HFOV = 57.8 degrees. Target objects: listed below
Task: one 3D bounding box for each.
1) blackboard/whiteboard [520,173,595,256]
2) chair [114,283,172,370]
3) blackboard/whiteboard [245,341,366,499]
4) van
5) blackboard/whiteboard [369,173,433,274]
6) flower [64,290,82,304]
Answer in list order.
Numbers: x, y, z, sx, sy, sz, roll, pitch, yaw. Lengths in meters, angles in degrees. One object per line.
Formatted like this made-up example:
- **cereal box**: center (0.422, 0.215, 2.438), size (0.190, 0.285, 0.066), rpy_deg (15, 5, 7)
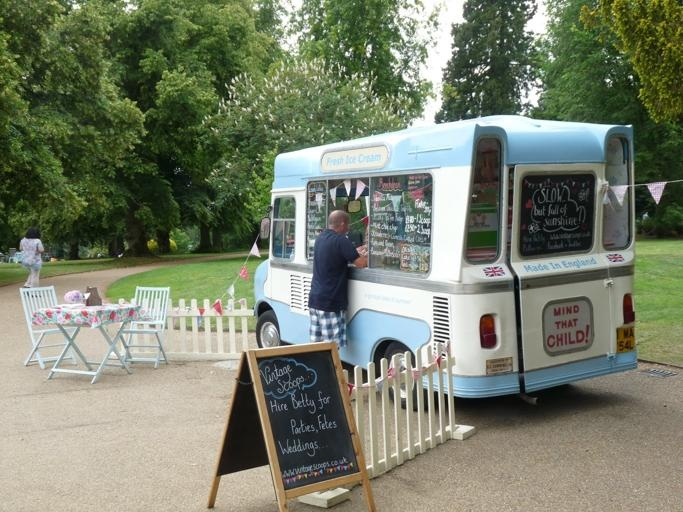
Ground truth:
- **blackboard/whiteboard**: center (2.586, -0.540, 7.535), size (0.894, 0.792, 0.040), rpy_deg (-3, 5, -34)
- **chair**: center (-3.367, 1.198, 10.654), size (0.779, 1.331, 0.832), rpy_deg (2, 1, 20)
- **blackboard/whiteboard**: center (-0.297, 1.552, 5.580), size (0.976, 1.495, 0.602), rpy_deg (-5, 4, -21)
- **van**: center (1.199, -0.090, 9.234), size (2.940, 3.114, 5.216), rpy_deg (-1, 2, -37)
- **blackboard/whiteboard**: center (0.771, -0.426, 7.734), size (0.065, 1.342, 1.171), rpy_deg (0, 1, -38)
- **flower**: center (-4.359, 0.703, 10.089), size (0.223, 0.276, 0.294), rpy_deg (-1, 12, -16)
